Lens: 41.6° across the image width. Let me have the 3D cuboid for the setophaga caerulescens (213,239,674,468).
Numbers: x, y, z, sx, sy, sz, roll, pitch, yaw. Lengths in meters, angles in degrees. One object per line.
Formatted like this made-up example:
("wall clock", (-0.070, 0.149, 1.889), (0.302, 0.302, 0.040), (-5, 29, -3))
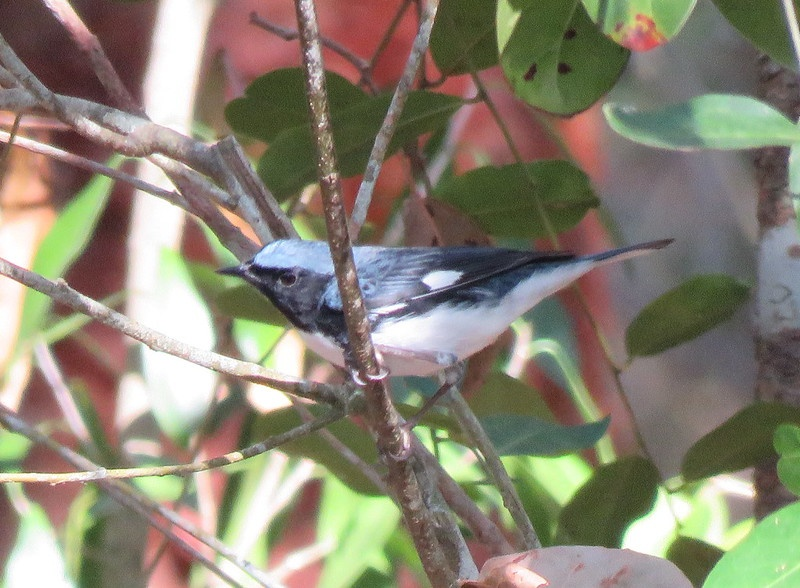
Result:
("setophaga caerulescens", (0.143, 0.031, 1.787), (0.722, 0.372, 0.271), (-11, -12, -8))
